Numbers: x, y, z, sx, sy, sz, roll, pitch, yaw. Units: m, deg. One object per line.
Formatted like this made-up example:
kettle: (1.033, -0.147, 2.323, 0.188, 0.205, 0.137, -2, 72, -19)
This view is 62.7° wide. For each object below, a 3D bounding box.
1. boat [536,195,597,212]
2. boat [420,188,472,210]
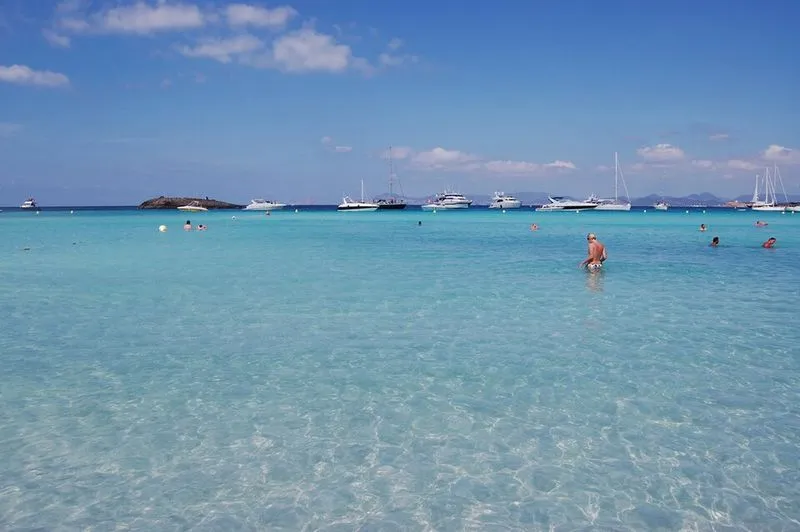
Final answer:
boat: (36.989, -13.406, 144.098, 10.593, 3.387, 26.795, 1, 7, 13)
boat: (12.441, -16.124, 167.115, 7.585, 4.250, 15.302, -3, 7, -14)
